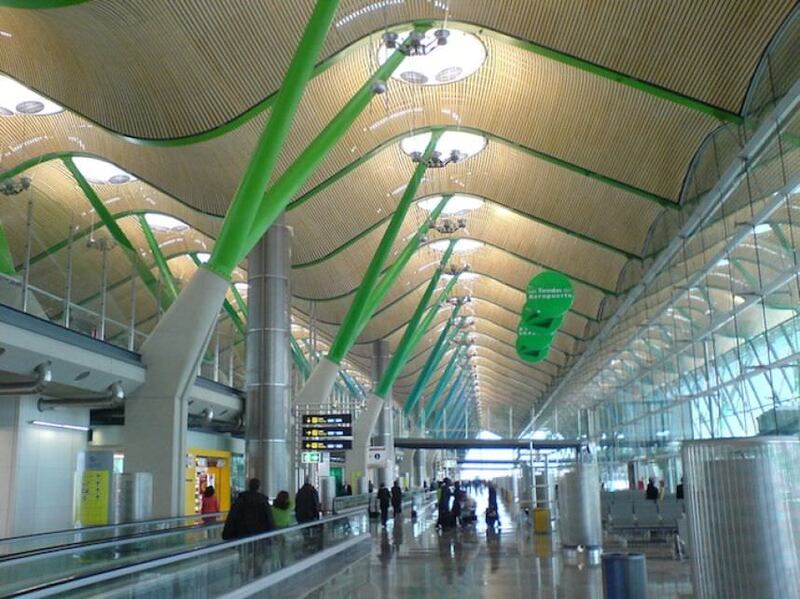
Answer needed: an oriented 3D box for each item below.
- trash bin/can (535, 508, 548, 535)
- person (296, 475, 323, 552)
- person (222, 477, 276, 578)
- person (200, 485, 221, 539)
[{"bbox_3d":[4.391,6.991,19.709,0.483,0.755,0.457,-4,-19,11],"label":"trash bin/can"},{"bbox_3d":[-2.465,5.470,16.348,0.577,1.931,0.485,1,16,-4],"label":"person"},{"bbox_3d":[-2.484,3.725,10.284,0.847,1.565,1.840,5,-20,-15],"label":"person"},{"bbox_3d":[-5.321,5.961,17.500,0.556,1.618,0.600,3,8,-10],"label":"person"}]
